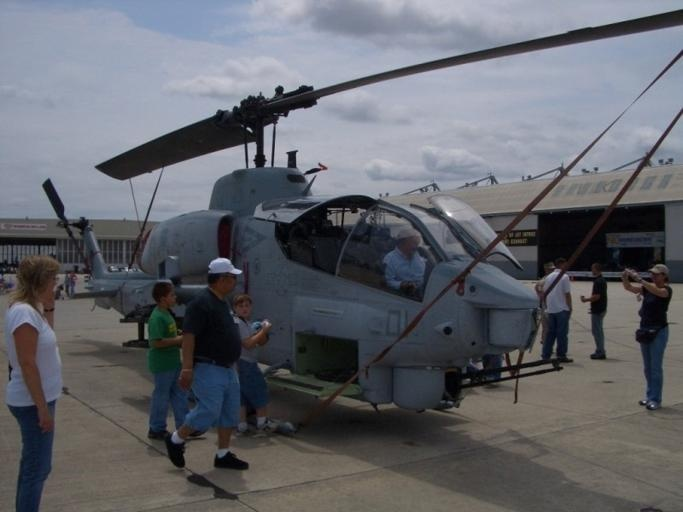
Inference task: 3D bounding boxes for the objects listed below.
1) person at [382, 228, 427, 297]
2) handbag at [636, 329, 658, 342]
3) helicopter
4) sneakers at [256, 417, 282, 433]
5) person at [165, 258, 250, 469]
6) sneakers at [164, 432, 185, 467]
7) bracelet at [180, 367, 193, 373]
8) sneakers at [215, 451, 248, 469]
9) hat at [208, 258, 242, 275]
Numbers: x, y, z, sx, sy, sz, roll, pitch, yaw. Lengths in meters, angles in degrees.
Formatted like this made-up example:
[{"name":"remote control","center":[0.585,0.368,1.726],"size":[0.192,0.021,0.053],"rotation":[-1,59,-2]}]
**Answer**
[{"name":"person","center":[0.747,0.066,7.822],"size":[0.558,0.761,0.282],"rotation":[4,6,42]},{"name":"handbag","center":[4.022,1.054,8.883],"size":[0.226,0.186,0.083],"rotation":[7,21,24]},{"name":"helicopter","center":[-0.505,-0.509,9.062],"size":[6.071,1.942,5.892],"rotation":[-2,3,-43]},{"name":"sneakers","center":[-0.884,2.000,7.977],"size":[0.293,0.150,0.140],"rotation":[-4,6,-18]},{"name":"person","center":[-1.393,1.122,6.919],"size":[0.800,2.160,0.427],"rotation":[-2,5,-21]},{"name":"sneakers","center":[-1.687,2.027,6.966],"size":[0.207,0.369,0.151],"rotation":[-15,-8,16]},{"name":"bracelet","center":[-1.558,1.140,6.745],"size":[0.096,0.038,0.056],"rotation":[0,4,-3]},{"name":"sneakers","center":[-1.152,2.128,7.017],"size":[0.391,0.140,0.159],"rotation":[1,-3,-1]},{"name":"hat","center":[-1.198,0.119,7.018],"size":[0.329,0.121,0.206],"rotation":[-5,7,-32]}]
